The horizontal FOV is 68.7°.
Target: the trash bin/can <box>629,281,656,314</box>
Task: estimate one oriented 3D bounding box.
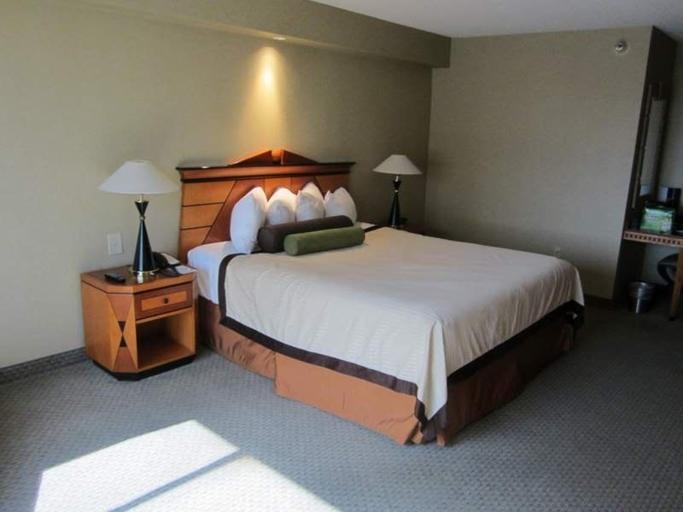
[{"bbox_3d":[3.306,0.459,5.500,0.302,0.337,0.260,-5,7,-42],"label":"trash bin/can"}]

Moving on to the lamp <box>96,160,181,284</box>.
[{"bbox_3d":[-1.685,-0.282,4.078,0.594,1.030,0.632,11,21,14],"label":"lamp"}]

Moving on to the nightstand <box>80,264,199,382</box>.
[{"bbox_3d":[-1.653,0.525,4.192,0.705,0.795,0.812,13,15,44],"label":"nightstand"}]

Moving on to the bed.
[{"bbox_3d":[0.146,0.425,4.389,2.670,1.951,2.631,14,21,42],"label":"bed"}]

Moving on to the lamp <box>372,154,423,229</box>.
[{"bbox_3d":[0.652,-0.755,6.041,0.428,0.698,0.436,-1,-14,33],"label":"lamp"}]
